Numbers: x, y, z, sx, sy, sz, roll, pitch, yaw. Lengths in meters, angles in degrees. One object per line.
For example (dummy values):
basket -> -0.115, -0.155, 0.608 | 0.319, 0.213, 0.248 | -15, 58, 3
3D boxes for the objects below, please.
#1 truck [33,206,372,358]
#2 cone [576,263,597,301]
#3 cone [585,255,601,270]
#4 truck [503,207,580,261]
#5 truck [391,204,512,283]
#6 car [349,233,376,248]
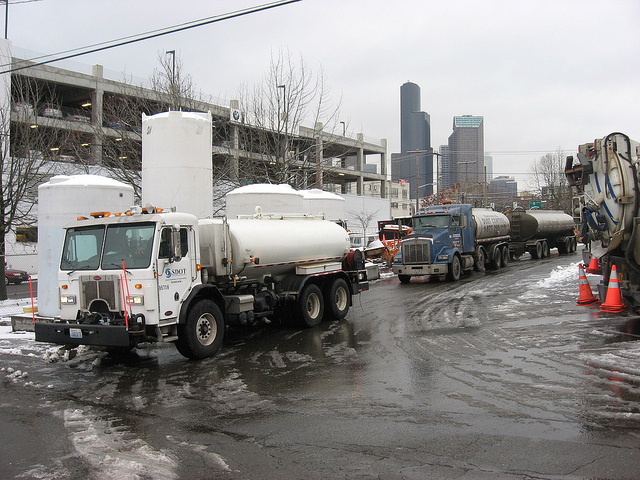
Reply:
truck -> -2.327, 0.879, 14.335 | 3.143, 3.217, 9.149 | -3, -3, 34
cone -> 7.751, 1.245, 15.900 | 0.475, 1.086, 1.186 | 0, 4, 27
cone -> 7.171, 0.614, 14.291 | 0.300, 0.341, 0.307 | -1, -5, 20
truck -> 15.553, -0.380, 37.327 | 3.796, 4.231, 12.190 | -2, -2, 37
truck -> 6.645, 0.155, 27.007 | 2.603, 3.097, 8.799 | -3, -3, 33
car -> 4.322, -0.008, 48.811 | 2.242, 1.253, 1.538 | -6, 0, 17
